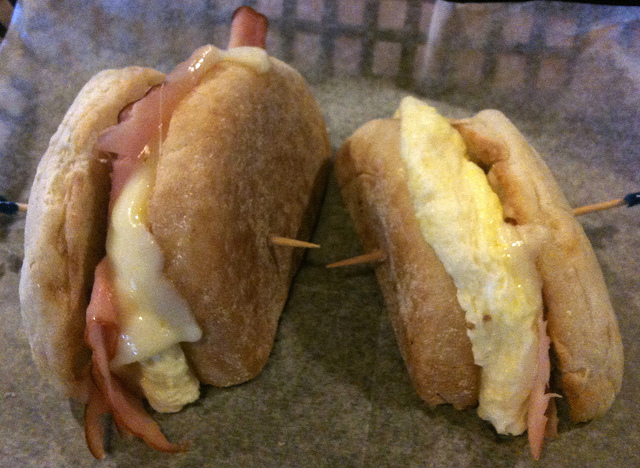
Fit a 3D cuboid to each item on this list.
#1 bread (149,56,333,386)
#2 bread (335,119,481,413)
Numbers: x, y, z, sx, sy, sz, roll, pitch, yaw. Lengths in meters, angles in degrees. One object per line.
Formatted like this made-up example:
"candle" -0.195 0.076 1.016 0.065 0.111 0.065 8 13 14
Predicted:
"bread" -0.248 -0.012 2.294 0.391 0.667 0.920 7 56 13
"bread" 0.285 0.113 2.369 0.264 0.776 0.624 -20 10 9
